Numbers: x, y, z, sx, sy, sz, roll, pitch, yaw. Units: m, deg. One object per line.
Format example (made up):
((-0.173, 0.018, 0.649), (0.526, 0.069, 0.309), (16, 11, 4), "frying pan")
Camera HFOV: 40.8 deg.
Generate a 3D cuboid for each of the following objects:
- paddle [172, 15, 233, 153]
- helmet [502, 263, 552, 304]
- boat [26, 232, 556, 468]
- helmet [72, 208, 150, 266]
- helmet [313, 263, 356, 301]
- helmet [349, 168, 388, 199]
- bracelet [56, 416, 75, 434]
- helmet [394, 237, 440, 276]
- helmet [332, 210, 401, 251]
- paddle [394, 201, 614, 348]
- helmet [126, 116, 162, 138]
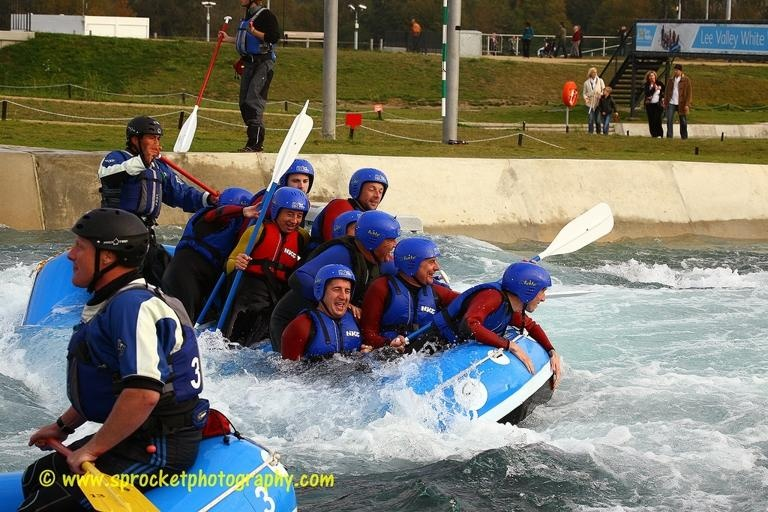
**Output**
((-2.905, -2.613, 16.598), (0.289, 2.578, 0.371), (40, 33, 21), "paddle")
((1.539, 0.305, 11.536), (0.545, 0.409, 0.390), (13, 20, -8), "helmet")
((-1.173, 1.327, 12.123), (5.213, 0.992, 2.622), (9, 8, 18), "boat")
((-2.352, -0.159, 8.942), (0.621, 0.436, 0.465), (2, 4, -11), "helmet")
((-0.597, 0.268, 11.505), (0.458, 0.345, 0.339), (23, 10, 24), "helmet")
((-0.229, -0.912, 13.292), (0.451, 0.339, 0.374), (7, 4, 28), "helmet")
((-2.841, 1.512, 9.197), (0.109, 0.075, 0.118), (-30, -29, 6), "bracelet")
((0.364, 0.022, 11.672), (0.507, 0.382, 0.366), (1, 8, 8), "helmet")
((-0.131, -0.301, 11.946), (0.532, 0.414, 0.373), (21, 19, 3), "helmet")
((1.664, 0.281, 14.629), (4.140, 0.571, 0.272), (-30, -14, -25), "paddle")
((-2.994, -1.588, 12.866), (0.401, 0.258, 0.321), (1, 9, -14), "helmet")
